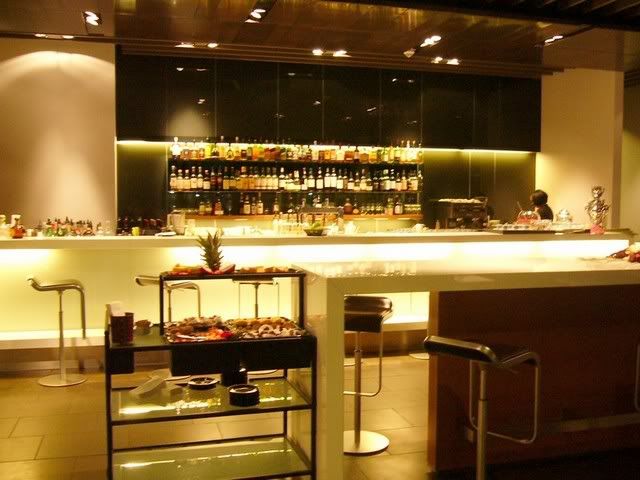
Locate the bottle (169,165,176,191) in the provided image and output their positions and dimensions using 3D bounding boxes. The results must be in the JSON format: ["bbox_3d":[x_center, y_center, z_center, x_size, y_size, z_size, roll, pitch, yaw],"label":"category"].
[{"bbox_3d":[-1.994,-0.837,7.422,0.105,0.334,0.149,-1,13,-16],"label":"bottle"}]

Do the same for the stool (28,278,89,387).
[{"bbox_3d":[-2.540,0.813,5.364,0.473,1.073,0.840,-3,13,-24],"label":"stool"}]

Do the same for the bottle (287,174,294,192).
[{"bbox_3d":[-0.423,-0.811,7.771,0.117,0.216,0.133,1,12,-3],"label":"bottle"}]

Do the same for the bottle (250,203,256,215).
[{"bbox_3d":[-0.935,-0.442,7.667,0.082,0.147,0.093,-4,14,-27],"label":"bottle"}]

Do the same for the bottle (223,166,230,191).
[{"bbox_3d":[-1.290,-0.849,7.563,0.103,0.295,0.129,0,12,-9],"label":"bottle"}]

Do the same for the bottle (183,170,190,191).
[{"bbox_3d":[-1.816,-0.817,7.455,0.100,0.248,0.152,-1,13,-14],"label":"bottle"}]

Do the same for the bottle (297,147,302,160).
[{"bbox_3d":[-0.290,-1.220,7.766,0.080,0.163,0.075,2,12,0],"label":"bottle"}]

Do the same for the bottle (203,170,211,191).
[{"bbox_3d":[-1.551,-0.819,7.493,0.102,0.251,0.147,-1,12,-12],"label":"bottle"}]

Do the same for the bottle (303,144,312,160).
[{"bbox_3d":[-0.178,-1.237,7.810,0.124,0.214,0.142,2,12,-1],"label":"bottle"}]

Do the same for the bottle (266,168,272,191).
[{"bbox_3d":[-0.708,-0.854,7.685,0.098,0.281,0.149,1,12,-5],"label":"bottle"}]

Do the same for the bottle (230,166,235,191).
[{"bbox_3d":[-1.203,-0.835,7.589,0.093,0.262,0.131,0,12,-9],"label":"bottle"}]

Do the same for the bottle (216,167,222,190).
[{"bbox_3d":[-1.390,-0.826,7.544,0.085,0.253,0.114,0,12,-10],"label":"bottle"}]

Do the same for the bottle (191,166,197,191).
[{"bbox_3d":[-1.726,-0.843,7.467,0.100,0.297,0.180,-1,13,-13],"label":"bottle"}]

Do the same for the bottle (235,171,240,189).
[{"bbox_3d":[-1.133,-0.813,7.587,0.095,0.223,0.087,2,12,0],"label":"bottle"}]

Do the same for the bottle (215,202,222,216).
[{"bbox_3d":[-1.405,-0.440,7.559,0.111,0.170,0.106,2,12,0],"label":"bottle"}]

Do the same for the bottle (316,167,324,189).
[{"bbox_3d":[-0.002,-0.879,7.872,0.115,0.300,0.134,3,12,3],"label":"bottle"}]

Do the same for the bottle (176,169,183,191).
[{"bbox_3d":[-1.902,-0.809,7.437,0.107,0.274,0.146,-1,13,-14],"label":"bottle"}]

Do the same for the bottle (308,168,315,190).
[{"bbox_3d":[-0.131,-0.863,7.848,0.102,0.273,0.141,2,12,-1],"label":"bottle"}]

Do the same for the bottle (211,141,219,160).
[{"bbox_3d":[-1.443,-1.218,7.526,0.113,0.206,0.153,3,12,6],"label":"bottle"}]

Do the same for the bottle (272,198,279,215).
[{"bbox_3d":[-0.619,-0.463,7.666,0.098,0.224,0.254,1,12,-5],"label":"bottle"}]

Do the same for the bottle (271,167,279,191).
[{"bbox_3d":[-0.649,-0.857,7.707,0.129,0.283,0.160,0,12,-11],"label":"bottle"}]

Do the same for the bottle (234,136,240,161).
[{"bbox_3d":[-1.143,-1.262,7.537,0.060,0.314,0.124,0,12,-8],"label":"bottle"}]

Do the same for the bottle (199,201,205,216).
[{"bbox_3d":[-1.630,-0.439,7.523,0.078,0.164,0.115,0,12,-9],"label":"bottle"}]

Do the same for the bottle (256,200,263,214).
[{"bbox_3d":[-0.846,-0.457,7.670,0.102,0.181,0.137,2,12,-2],"label":"bottle"}]

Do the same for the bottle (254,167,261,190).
[{"bbox_3d":[-0.869,-0.843,7.659,0.105,0.262,0.156,0,12,-8],"label":"bottle"}]

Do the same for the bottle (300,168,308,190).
[{"bbox_3d":[-0.239,-0.861,7.820,0.105,0.287,0.135,2,12,-2],"label":"bottle"}]

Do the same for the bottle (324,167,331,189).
[{"bbox_3d":[0.106,-0.881,7.899,0.094,0.286,0.137,2,12,0],"label":"bottle"}]

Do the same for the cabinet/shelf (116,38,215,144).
[{"bbox_3d":[-1.892,-1.759,6.539,1.283,1.081,0.412,-1,3,-12],"label":"cabinet/shelf"}]

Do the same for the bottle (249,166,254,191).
[{"bbox_3d":[-0.962,-0.854,7.634,0.087,0.287,0.149,0,12,-8],"label":"bottle"}]

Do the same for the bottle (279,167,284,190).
[{"bbox_3d":[-0.539,-0.866,7.745,0.105,0.294,0.137,2,12,-2],"label":"bottle"}]

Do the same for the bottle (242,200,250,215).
[{"bbox_3d":[-1.030,-0.456,7.654,0.118,0.191,0.097,5,12,12],"label":"bottle"}]

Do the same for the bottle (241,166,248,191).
[{"bbox_3d":[-1.063,-0.861,7.612,0.103,0.308,0.137,0,12,-9],"label":"bottle"}]

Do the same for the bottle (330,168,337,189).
[{"bbox_3d":[0.192,-0.893,7.916,0.105,0.266,0.155,2,12,-1],"label":"bottle"}]

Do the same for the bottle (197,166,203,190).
[{"bbox_3d":[-1.641,-0.850,7.475,0.068,0.291,0.168,-1,12,-12],"label":"bottle"}]

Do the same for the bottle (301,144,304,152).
[{"bbox_3d":[-0.256,-1.297,7.798,0.084,0.075,0.019,-6,11,-41],"label":"bottle"}]

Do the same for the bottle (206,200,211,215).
[{"bbox_3d":[-1.534,-0.449,7.554,0.077,0.170,0.083,2,12,0],"label":"bottle"}]
